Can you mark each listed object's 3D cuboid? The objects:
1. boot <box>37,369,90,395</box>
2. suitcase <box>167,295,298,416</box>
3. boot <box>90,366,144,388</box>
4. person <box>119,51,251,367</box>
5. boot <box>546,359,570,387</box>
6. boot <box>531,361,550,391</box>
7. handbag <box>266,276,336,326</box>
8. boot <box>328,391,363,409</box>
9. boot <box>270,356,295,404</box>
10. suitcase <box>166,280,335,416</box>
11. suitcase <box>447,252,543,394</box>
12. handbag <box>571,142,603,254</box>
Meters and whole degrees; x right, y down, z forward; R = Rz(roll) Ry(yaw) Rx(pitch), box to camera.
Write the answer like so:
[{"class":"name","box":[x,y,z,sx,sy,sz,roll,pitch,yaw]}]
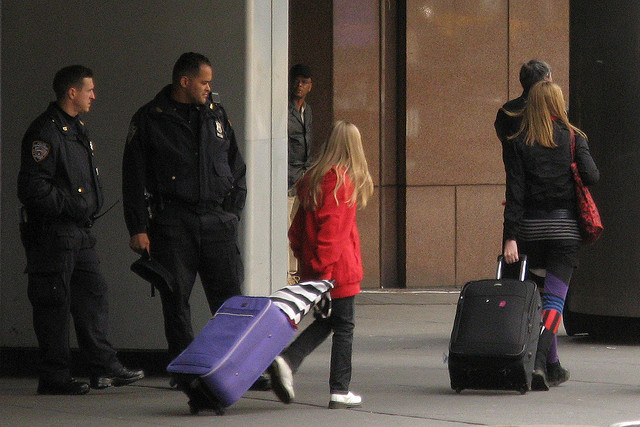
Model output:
[{"class":"boot","box":[-2.181,1.451,8.893,0.462,0.278,0.178,-1,-5,-8]},{"class":"suitcase","box":[-0.702,1.121,8.008,0.928,0.899,0.380,-3,6,-31]},{"class":"boot","box":[-1.761,1.402,9.024,0.455,0.202,0.152,-10,2,-18]},{"class":"person","box":[-1.111,-0.073,8.717,1.028,2.524,0.452,-3,6,-29]},{"class":"boot","box":[2.085,1.404,9.130,0.121,0.230,0.352,-1,15,37]},{"class":"boot","box":[1.870,1.385,8.801,0.117,0.123,0.300,-4,-33,13]},{"class":"handbag","box":[-0.134,0.722,8.274,0.474,0.389,0.179,-17,-25,0]},{"class":"boot","box":[0.205,1.495,8.309,0.262,0.113,0.112,-1,4,-27]},{"class":"boot","box":[-0.302,1.318,8.184,0.192,0.409,0.145,-17,10,-12]},{"class":"suitcase","box":[-0.700,1.117,8.021,0.964,0.908,0.368,-2,5,-27]},{"class":"suitcase","box":[1.501,0.950,8.861,0.769,1.153,0.704,1,5,12]},{"class":"handbag","box":[2.322,-0.174,9.067,0.270,0.891,0.135,1,5,13]}]
